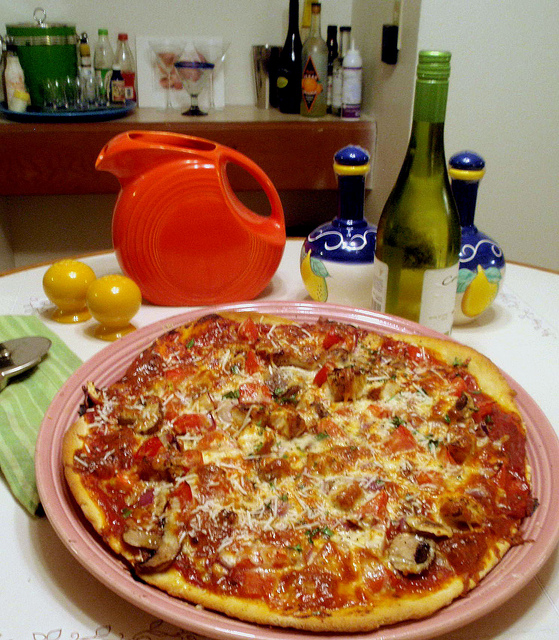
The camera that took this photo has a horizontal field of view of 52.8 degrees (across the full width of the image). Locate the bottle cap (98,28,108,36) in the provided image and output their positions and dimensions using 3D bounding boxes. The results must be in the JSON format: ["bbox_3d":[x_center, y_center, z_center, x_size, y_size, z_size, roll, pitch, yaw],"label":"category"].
[{"bbox_3d":[-0.721,-1.182,2.317,0.026,0.020,0.031,3,23,2],"label":"bottle cap"}]

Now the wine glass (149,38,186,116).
[{"bbox_3d":[-0.500,-1.094,2.547,0.159,0.317,0.154,18,36,16],"label":"wine glass"}]

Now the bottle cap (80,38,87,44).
[{"bbox_3d":[-0.804,-1.146,2.320,0.024,0.020,0.029,-3,28,-5],"label":"bottle cap"}]

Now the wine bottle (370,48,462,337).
[{"bbox_3d":[0.203,-0.149,0.801,0.104,0.468,0.122,0,47,12],"label":"wine bottle"}]

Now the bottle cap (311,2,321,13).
[{"bbox_3d":[0.148,-1.260,2.278,0.042,0.049,0.043,20,30,38],"label":"bottle cap"}]

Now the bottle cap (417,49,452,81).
[{"bbox_3d":[0.174,-0.287,0.637,0.037,0.030,0.050,6,29,13],"label":"bottle cap"}]

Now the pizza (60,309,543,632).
[{"bbox_3d":[0.021,0.101,0.588,0.471,0.048,0.431,5,30,11],"label":"pizza"}]

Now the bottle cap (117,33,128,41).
[{"bbox_3d":[-0.668,-1.210,2.399,0.034,0.028,0.041,1,36,-3],"label":"bottle cap"}]

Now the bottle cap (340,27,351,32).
[{"bbox_3d":[0.277,-1.215,2.364,0.044,0.017,0.078,1,29,4],"label":"bottle cap"}]

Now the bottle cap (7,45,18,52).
[{"bbox_3d":[-1.030,-1.051,2.185,0.028,0.024,0.080,-7,29,-12],"label":"bottle cap"}]

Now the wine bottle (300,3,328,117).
[{"bbox_3d":[0.139,-1.093,2.386,0.137,0.430,0.173,-12,27,-24],"label":"wine bottle"}]

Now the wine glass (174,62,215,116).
[{"bbox_3d":[-0.333,-0.968,2.379,0.150,0.237,0.172,1,24,-3],"label":"wine glass"}]
